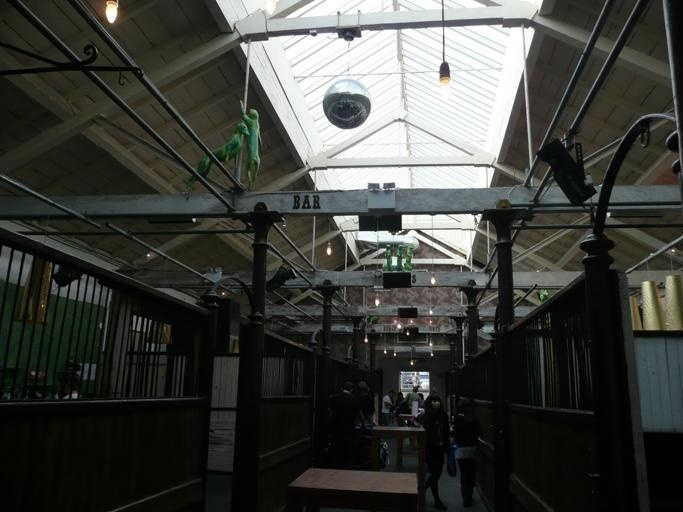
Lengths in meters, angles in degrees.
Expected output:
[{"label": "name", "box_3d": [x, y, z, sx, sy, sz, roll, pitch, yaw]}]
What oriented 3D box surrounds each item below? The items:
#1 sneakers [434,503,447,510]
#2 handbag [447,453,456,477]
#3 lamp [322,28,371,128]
[{"label": "sneakers", "box_3d": [1.466, 3.705, 8.198, 0.175, 0.110, 0.271, -3, -18, 9]}, {"label": "handbag", "box_3d": [1.730, 3.292, 8.743, 0.132, 0.360, 0.738, -4, -18, 11]}, {"label": "lamp", "box_3d": [0.105, -3.146, 9.860, 0.853, 1.931, 0.900, 0, -5, 15]}]
